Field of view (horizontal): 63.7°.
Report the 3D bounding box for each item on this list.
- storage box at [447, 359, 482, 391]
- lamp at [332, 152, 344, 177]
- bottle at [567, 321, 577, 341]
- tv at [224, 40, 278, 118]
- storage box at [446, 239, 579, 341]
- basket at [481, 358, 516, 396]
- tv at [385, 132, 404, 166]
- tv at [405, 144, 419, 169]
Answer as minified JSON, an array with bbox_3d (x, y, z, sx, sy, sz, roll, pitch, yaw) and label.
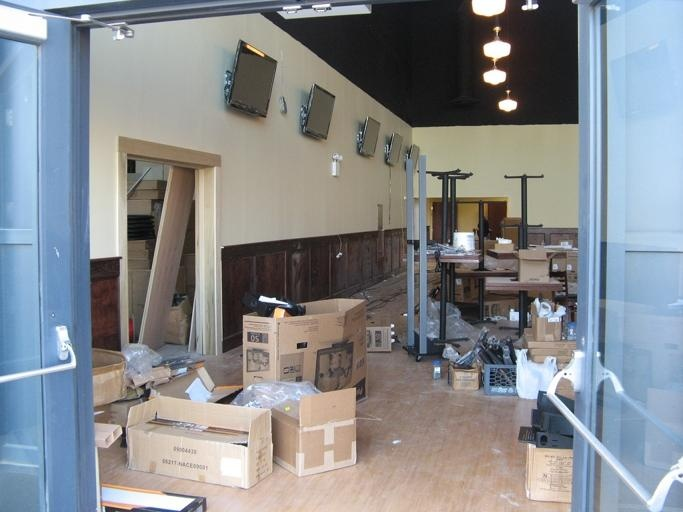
[{"bbox_3d":[1.026,1.002,4.535,0.240,0.182,0.156,1,5,5],"label":"storage box"},{"bbox_3d":[-0.073,-1.468,8.841,0.137,0.509,0.416,1,4,16],"label":"lamp"},{"bbox_3d":[1.854,0.609,4.423,0.054,0.141,0.118,2,6,16],"label":"bottle"},{"bbox_3d":[-0.975,-1.900,5.923,0.285,0.674,0.717,3,6,23],"label":"tv"},{"bbox_3d":[1.660,0.381,6.043,1.080,1.076,2.230,1,5,11],"label":"storage box"},{"bbox_3d":[1.284,1.001,4.481,0.224,0.240,0.236,-1,-4,7],"label":"basket"},{"bbox_3d":[1.170,-2.394,12.306,0.111,0.666,0.857,8,13,19],"label":"tv"},{"bbox_3d":[1.836,-2.553,14.057,0.293,0.634,0.875,1,5,11],"label":"tv"}]
